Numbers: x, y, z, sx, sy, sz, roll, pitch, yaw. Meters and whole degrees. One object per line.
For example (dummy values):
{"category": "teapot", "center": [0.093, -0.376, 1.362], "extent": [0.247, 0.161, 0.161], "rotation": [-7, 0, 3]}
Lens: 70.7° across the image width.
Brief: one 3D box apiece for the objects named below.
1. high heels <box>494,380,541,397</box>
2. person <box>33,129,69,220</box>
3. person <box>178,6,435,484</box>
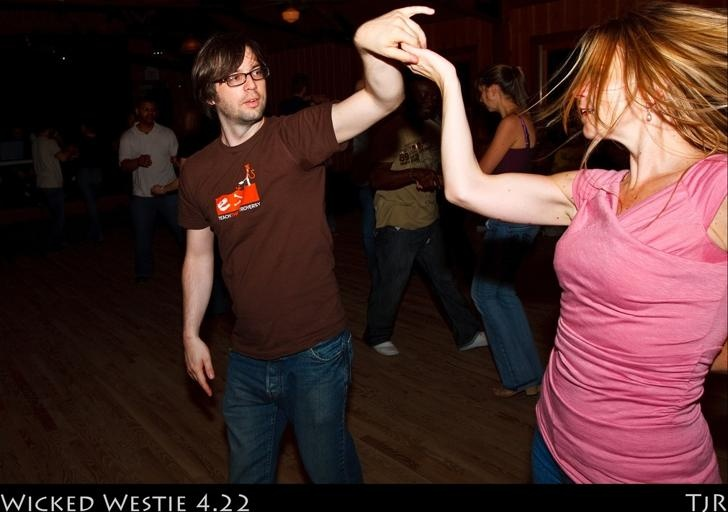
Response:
{"category": "high heels", "center": [0.984, 0.884, 3.316], "extent": [0.291, 0.088, 0.107], "rotation": [2, 17, 14]}
{"category": "person", "center": [-4.972, -1.321, 8.163], "extent": [0.451, 1.335, 0.911], "rotation": [-12, 17, -30]}
{"category": "person", "center": [-0.343, 0.139, 1.972], "extent": [0.931, 1.923, 0.613], "rotation": [7, 18, 35]}
